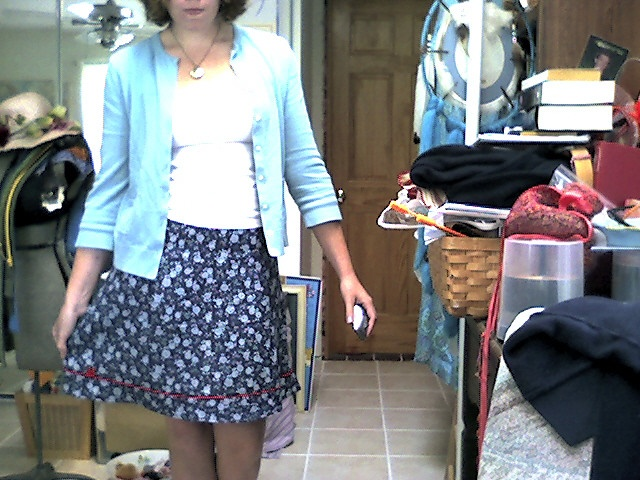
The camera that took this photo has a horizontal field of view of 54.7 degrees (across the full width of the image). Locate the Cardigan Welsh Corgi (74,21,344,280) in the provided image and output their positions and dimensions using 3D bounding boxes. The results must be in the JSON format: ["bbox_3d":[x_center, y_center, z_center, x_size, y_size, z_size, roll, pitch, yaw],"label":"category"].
[{"bbox_3d":[-0.241,-0.207,1.328,0.583,0.504,0.199,-6,17,-20],"label":"Cardigan Welsh Corgi"}]

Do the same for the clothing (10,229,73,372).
[{"bbox_3d":[-0.973,0.190,2.051,0.252,0.461,0.147,-9,0,30],"label":"clothing"}]

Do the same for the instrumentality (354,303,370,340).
[{"bbox_3d":[0.083,0.171,1.246,0.032,0.067,0.078,0,7,3],"label":"instrumentality"}]

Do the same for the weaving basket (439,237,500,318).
[{"bbox_3d":[0.377,0.096,1.618,0.145,0.174,0.182,3,-14,1],"label":"weaving basket"}]

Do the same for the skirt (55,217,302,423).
[{"bbox_3d":[-0.276,0.139,1.310,0.436,0.400,0.260,4,10,-6],"label":"skirt"}]

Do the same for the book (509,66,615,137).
[{"bbox_3d":[0.643,-0.356,1.585,0.215,0.108,0.161,0,-1,-1],"label":"book"}]

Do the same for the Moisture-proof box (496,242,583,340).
[{"bbox_3d":[0.370,0.080,1.110,0.152,0.179,0.163,0,2,10],"label":"Moisture-proof box"}]

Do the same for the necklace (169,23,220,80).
[{"bbox_3d":[-0.253,-0.381,1.255,0.132,0.161,0.003,-1,-29,2],"label":"necklace"}]
